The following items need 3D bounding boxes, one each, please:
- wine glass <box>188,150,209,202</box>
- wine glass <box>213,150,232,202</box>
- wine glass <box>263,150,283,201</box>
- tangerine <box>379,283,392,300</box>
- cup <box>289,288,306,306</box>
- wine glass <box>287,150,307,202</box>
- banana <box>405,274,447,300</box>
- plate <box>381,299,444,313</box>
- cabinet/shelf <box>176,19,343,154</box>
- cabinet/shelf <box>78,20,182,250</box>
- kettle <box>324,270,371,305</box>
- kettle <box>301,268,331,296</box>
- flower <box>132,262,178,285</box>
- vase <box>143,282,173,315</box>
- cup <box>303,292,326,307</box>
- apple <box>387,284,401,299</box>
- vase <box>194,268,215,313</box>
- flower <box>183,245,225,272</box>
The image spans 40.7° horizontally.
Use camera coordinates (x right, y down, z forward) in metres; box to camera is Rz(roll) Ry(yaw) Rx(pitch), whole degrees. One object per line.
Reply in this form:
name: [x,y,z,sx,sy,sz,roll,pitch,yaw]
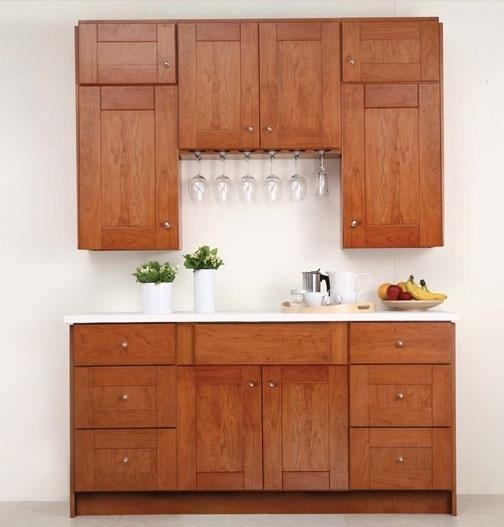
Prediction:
wine glass: [-0.253,-0.395,3.207,0.085,0.232,0.267,0,-1,-3]
wine glass: [-0.143,-0.397,3.217,0.080,0.232,0.266,0,-1,-3]
wine glass: [0.097,-0.400,3.214,0.081,0.231,0.253,0,-1,1]
tangerine: [0.629,0.138,3.225,0.063,0.080,0.065,2,-15,19]
cup: [0.211,0.163,3.144,0.060,0.062,0.063,1,-1,0]
wine glass: [0.206,-0.391,3.122,0.117,0.224,0.118,-1,-4,-20]
banana: [0.813,0.121,3.213,0.183,0.113,0.286,0,-1,12]
plate: [0.751,0.200,3.203,0.266,0.061,0.264,0,-1,11]
cabinet/shelf: [0.034,-0.783,3.196,0.752,0.620,0.289,-1,-9,-1]
cabinet/shelf: [-0.562,-0.569,3.273,0.502,1.015,0.487,-1,0,7]
kettle: [0.449,0.110,3.100,0.180,0.161,0.110,0,-4,8]
kettle: [0.291,0.089,3.135,0.138,0.148,0.078,2,-2,5]
flower: [-0.454,0.047,3.101,0.245,0.102,0.135,-1,-1,42]
vase: [-0.426,0.158,3.105,0.129,0.131,0.120,0,-1,0]
cup: [0.283,0.162,3.049,0.061,0.042,0.077,1,1,-10]
apple: [0.659,0.136,3.156,0.061,0.067,0.062,11,-17,-32]
vase: [-0.218,0.128,3.080,0.090,0.200,0.123,0,-1,-7]
flower: [-0.217,-0.037,3.109,0.137,0.064,0.135,-5,8,-38]
